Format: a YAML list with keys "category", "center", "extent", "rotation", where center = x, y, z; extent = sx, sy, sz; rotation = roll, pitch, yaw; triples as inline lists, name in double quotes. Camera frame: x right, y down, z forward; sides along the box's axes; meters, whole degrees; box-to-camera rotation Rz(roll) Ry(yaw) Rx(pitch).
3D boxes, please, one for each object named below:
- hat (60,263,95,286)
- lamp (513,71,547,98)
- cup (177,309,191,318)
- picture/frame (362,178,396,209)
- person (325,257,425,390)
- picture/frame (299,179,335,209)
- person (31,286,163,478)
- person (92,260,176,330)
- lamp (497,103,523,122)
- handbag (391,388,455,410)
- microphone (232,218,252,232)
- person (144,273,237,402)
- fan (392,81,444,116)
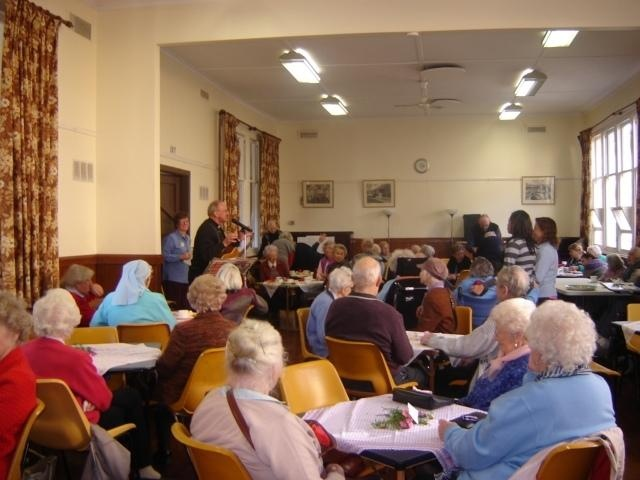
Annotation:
- category: "hat"
  center: [-2.205, 0.279, 4.730]
  extent: [0.226, 0.229, 0.185]
  rotation: [-19, 8, -9]
- category: "lamp"
  center: [3.569, -2.528, 8.688]
  extent: [0.295, 0.140, 0.573]
  rotation: [2, -8, 6]
- category: "cup"
  center: [-1.292, 0.710, 4.960]
  extent: [0.093, 0.056, 0.092]
  rotation: [0, 2, 0]
- category: "picture/frame"
  center: [1.531, -1.212, 13.146]
  extent: [0.692, 0.656, 0.048]
  rotation: [1, 6, 7]
- category: "person"
  center: [0.435, 0.634, 4.032]
  extent: [0.702, 1.082, 0.679]
  rotation: [6, 17, 24]
- category: "picture/frame"
  center: [-0.039, -1.214, 13.365]
  extent: [0.682, 0.627, 0.052]
  rotation: [1, 0, 2]
- category: "person"
  center: [-1.450, 0.990, 3.343]
  extent: [0.393, 1.349, 0.769]
  rotation: [0, -1, 34]
- category: "person"
  center: [-1.623, 0.495, 4.525]
  extent: [0.677, 0.651, 0.414]
  rotation: [3, 6, -21]
- category: "lamp"
  center: [3.868, -2.676, 10.515]
  extent: [0.460, 0.240, 0.695]
  rotation: [1, 2, 8]
- category: "handbag"
  center: [0.598, 0.898, 2.973]
  extent: [0.156, 0.056, 0.151]
  rotation: [3, 3, 40]
- category: "microphone"
  center: [-1.415, -0.272, 9.261]
  extent: [0.126, 0.119, 0.424]
  rotation: [-34, 57, -30]
- category: "person"
  center: [-0.986, 0.717, 3.951]
  extent: [0.720, 0.986, 0.629]
  rotation: [8, 8, 23]
- category: "fan"
  center: [2.077, -2.937, 10.909]
  extent: [1.012, 0.137, 2.665]
  rotation: [0, -1, 12]
